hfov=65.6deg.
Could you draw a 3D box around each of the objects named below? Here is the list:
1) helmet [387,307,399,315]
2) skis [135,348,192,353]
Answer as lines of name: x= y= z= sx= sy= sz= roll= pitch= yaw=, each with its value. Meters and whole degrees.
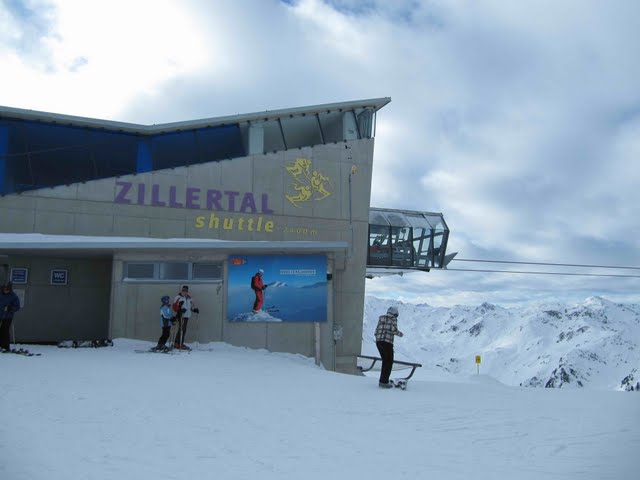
helmet: x=2.037 y=1.938 z=13.511 sx=0.306 sy=0.262 sz=0.229 roll=-3 pitch=2 yaw=-20
skis: x=-4.961 y=3.483 z=15.722 sx=1.822 sy=0.243 sz=0.242 roll=0 pitch=-2 yaw=-3
